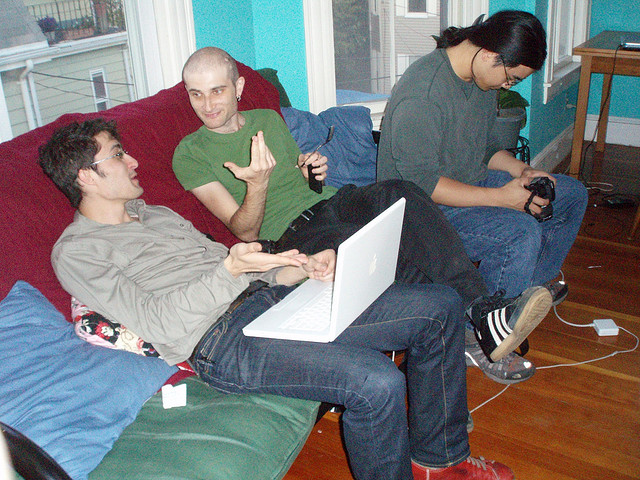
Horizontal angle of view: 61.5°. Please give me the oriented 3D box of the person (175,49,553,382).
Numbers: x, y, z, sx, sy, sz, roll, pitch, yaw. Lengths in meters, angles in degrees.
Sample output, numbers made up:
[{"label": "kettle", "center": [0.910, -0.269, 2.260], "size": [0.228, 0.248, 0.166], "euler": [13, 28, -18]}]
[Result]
[{"label": "person", "center": [0.130, -0.127, 2.195], "size": [1.604, 0.982, 0.714], "euler": [25, 51, 29]}]

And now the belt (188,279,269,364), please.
[{"label": "belt", "center": [-0.308, 0.295, 1.932], "size": [0.319, 0.172, 0.085], "euler": [-45, -10, -10]}]

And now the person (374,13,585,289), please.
[{"label": "person", "center": [0.787, -0.377, 2.580], "size": [0.952, 1.329, 0.753], "euler": [22, 40, 32]}]

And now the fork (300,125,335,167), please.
[{"label": "fork", "center": [-0.002, -0.399, 2.353], "size": [0.047, 0.030, 0.259], "euler": [-7, -26, -39]}]

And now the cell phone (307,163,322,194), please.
[{"label": "cell phone", "center": [-0.025, -0.272, 2.380], "size": [0.062, 0.122, 0.031], "euler": [-2, 17, 10]}]
